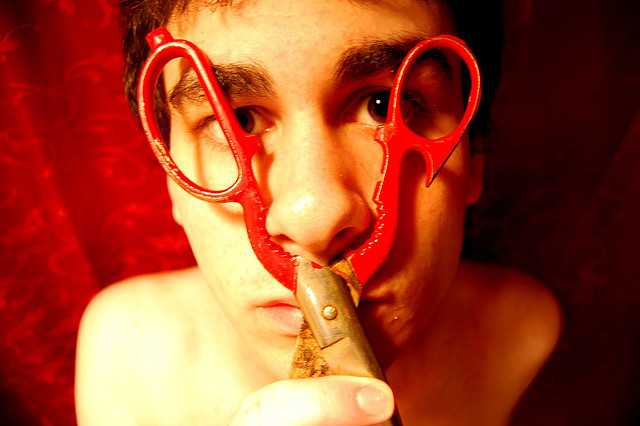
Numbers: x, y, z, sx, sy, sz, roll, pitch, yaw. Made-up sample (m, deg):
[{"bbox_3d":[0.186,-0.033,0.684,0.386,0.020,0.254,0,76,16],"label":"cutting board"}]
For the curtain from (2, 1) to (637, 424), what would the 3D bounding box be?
[{"bbox_3d":[0.002,0.010,1.231,0.912,0.707,0.011,0,-2,6],"label":"curtain"}]
